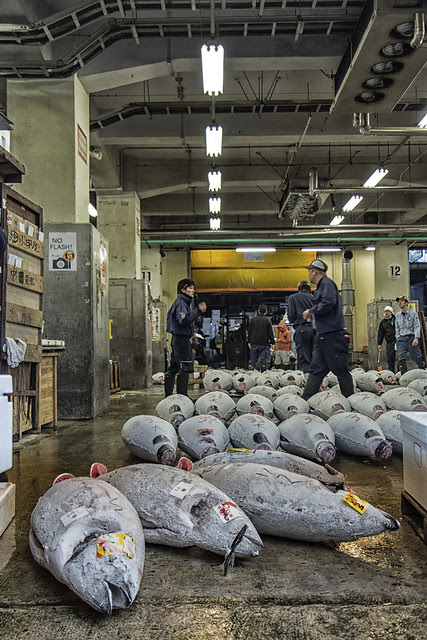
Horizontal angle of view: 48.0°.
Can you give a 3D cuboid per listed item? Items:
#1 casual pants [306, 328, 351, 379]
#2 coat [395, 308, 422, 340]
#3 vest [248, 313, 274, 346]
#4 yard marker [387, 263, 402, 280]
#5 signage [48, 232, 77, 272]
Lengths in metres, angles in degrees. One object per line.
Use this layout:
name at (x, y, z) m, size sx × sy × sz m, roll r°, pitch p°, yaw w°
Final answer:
casual pants at (1.222, 0.450, 5.361) m, size 0.394 × 0.786 × 0.629 m, roll -1°, pitch -7°, yaw -8°
coat at (4.184, 0.113, 10.264) m, size 0.307 × 0.851 × 0.563 m, roll 10°, pitch -11°, yaw -38°
vest at (1.070, 0.248, 10.701) m, size 0.522 × 0.709 × 0.414 m, roll -2°, pitch -2°, yaw 5°
yard marker at (6.763, -1.759, 17.866) m, size 0.517 × 0.632 × 0.078 m, roll 0°, pitch -2°, yaw 0°
signage at (-1.919, -0.844, 6.107) m, size 0.419 × 0.665 × 0.059 m, roll 2°, pitch -9°, yaw -4°
